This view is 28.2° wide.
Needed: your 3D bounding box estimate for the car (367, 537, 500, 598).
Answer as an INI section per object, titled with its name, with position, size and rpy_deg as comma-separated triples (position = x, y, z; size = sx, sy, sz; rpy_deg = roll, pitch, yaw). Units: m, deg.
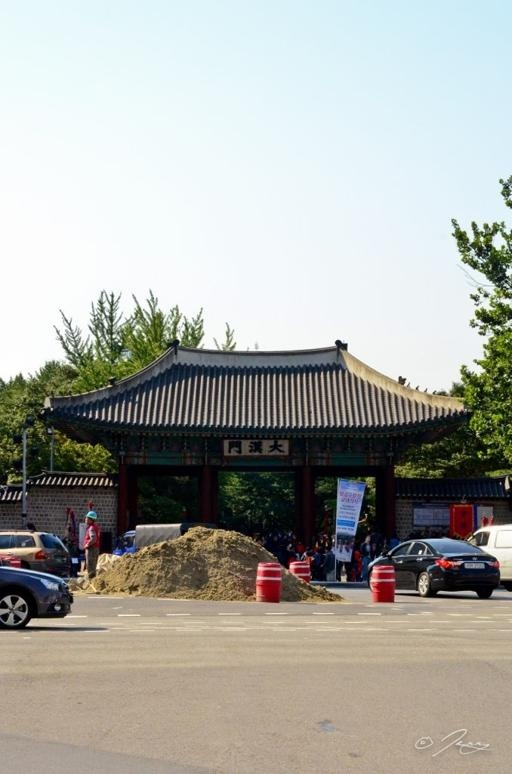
[car]
position = 4.052, 4.037, 23.326
size = 1.394, 0.991, 2.999
rpy_deg = 5, -6, -23
